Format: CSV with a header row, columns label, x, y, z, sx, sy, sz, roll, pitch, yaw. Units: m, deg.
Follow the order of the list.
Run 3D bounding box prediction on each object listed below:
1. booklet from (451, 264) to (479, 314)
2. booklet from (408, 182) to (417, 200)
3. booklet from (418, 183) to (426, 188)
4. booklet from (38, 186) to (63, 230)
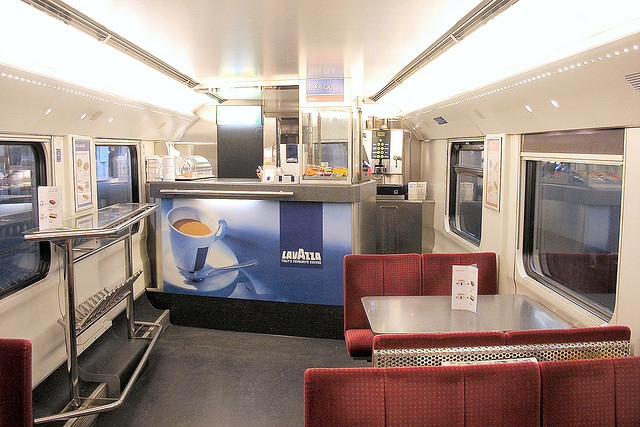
label,x,y,z,sx,sy,sz,roll,pitch,yaw
booklet,1.315,0.679,3.753,0.228,0.424,0.164,1,7,17
booklet,1.861,-0.451,8.317,0.173,0.342,0.060,-1,7,8
booklet,2.044,-0.567,8.277,0.146,0.125,0.076,-2,-4,3
booklet,-2.437,-0.058,3.684,0.044,0.381,0.209,-3,-1,37
